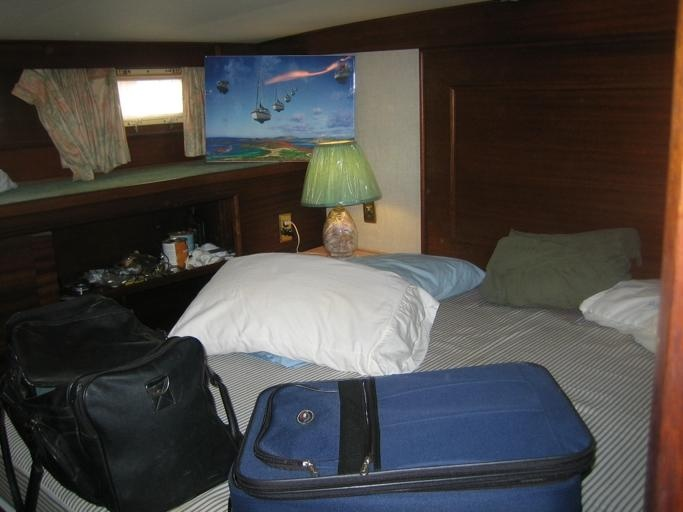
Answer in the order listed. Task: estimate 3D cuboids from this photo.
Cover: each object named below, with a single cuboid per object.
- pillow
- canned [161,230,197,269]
[{"bbox_3d":[0.206,0.150,1.424,1.185,0.202,0.712,1,15,8],"label":"pillow"},{"bbox_3d":[-0.879,-0.038,2.577,0.152,0.174,0.192,2,10,4],"label":"canned"}]
